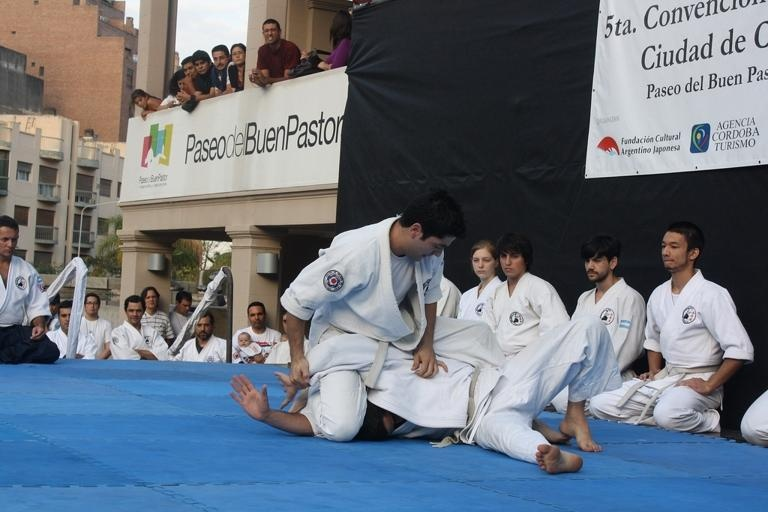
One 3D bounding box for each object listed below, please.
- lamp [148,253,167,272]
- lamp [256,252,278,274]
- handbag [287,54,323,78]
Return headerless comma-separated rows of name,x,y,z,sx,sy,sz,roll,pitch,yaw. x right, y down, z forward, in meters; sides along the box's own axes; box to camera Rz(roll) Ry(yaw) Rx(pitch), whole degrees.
lamp,-3.987,0.108,16.143,0.276,0.326,0.275,2,-2,-36
lamp,-1.814,0.116,14.213,0.287,0.326,0.315,1,-4,45
handbag,-1.144,-2.755,13.377,0.384,0.188,0.393,-26,5,14
